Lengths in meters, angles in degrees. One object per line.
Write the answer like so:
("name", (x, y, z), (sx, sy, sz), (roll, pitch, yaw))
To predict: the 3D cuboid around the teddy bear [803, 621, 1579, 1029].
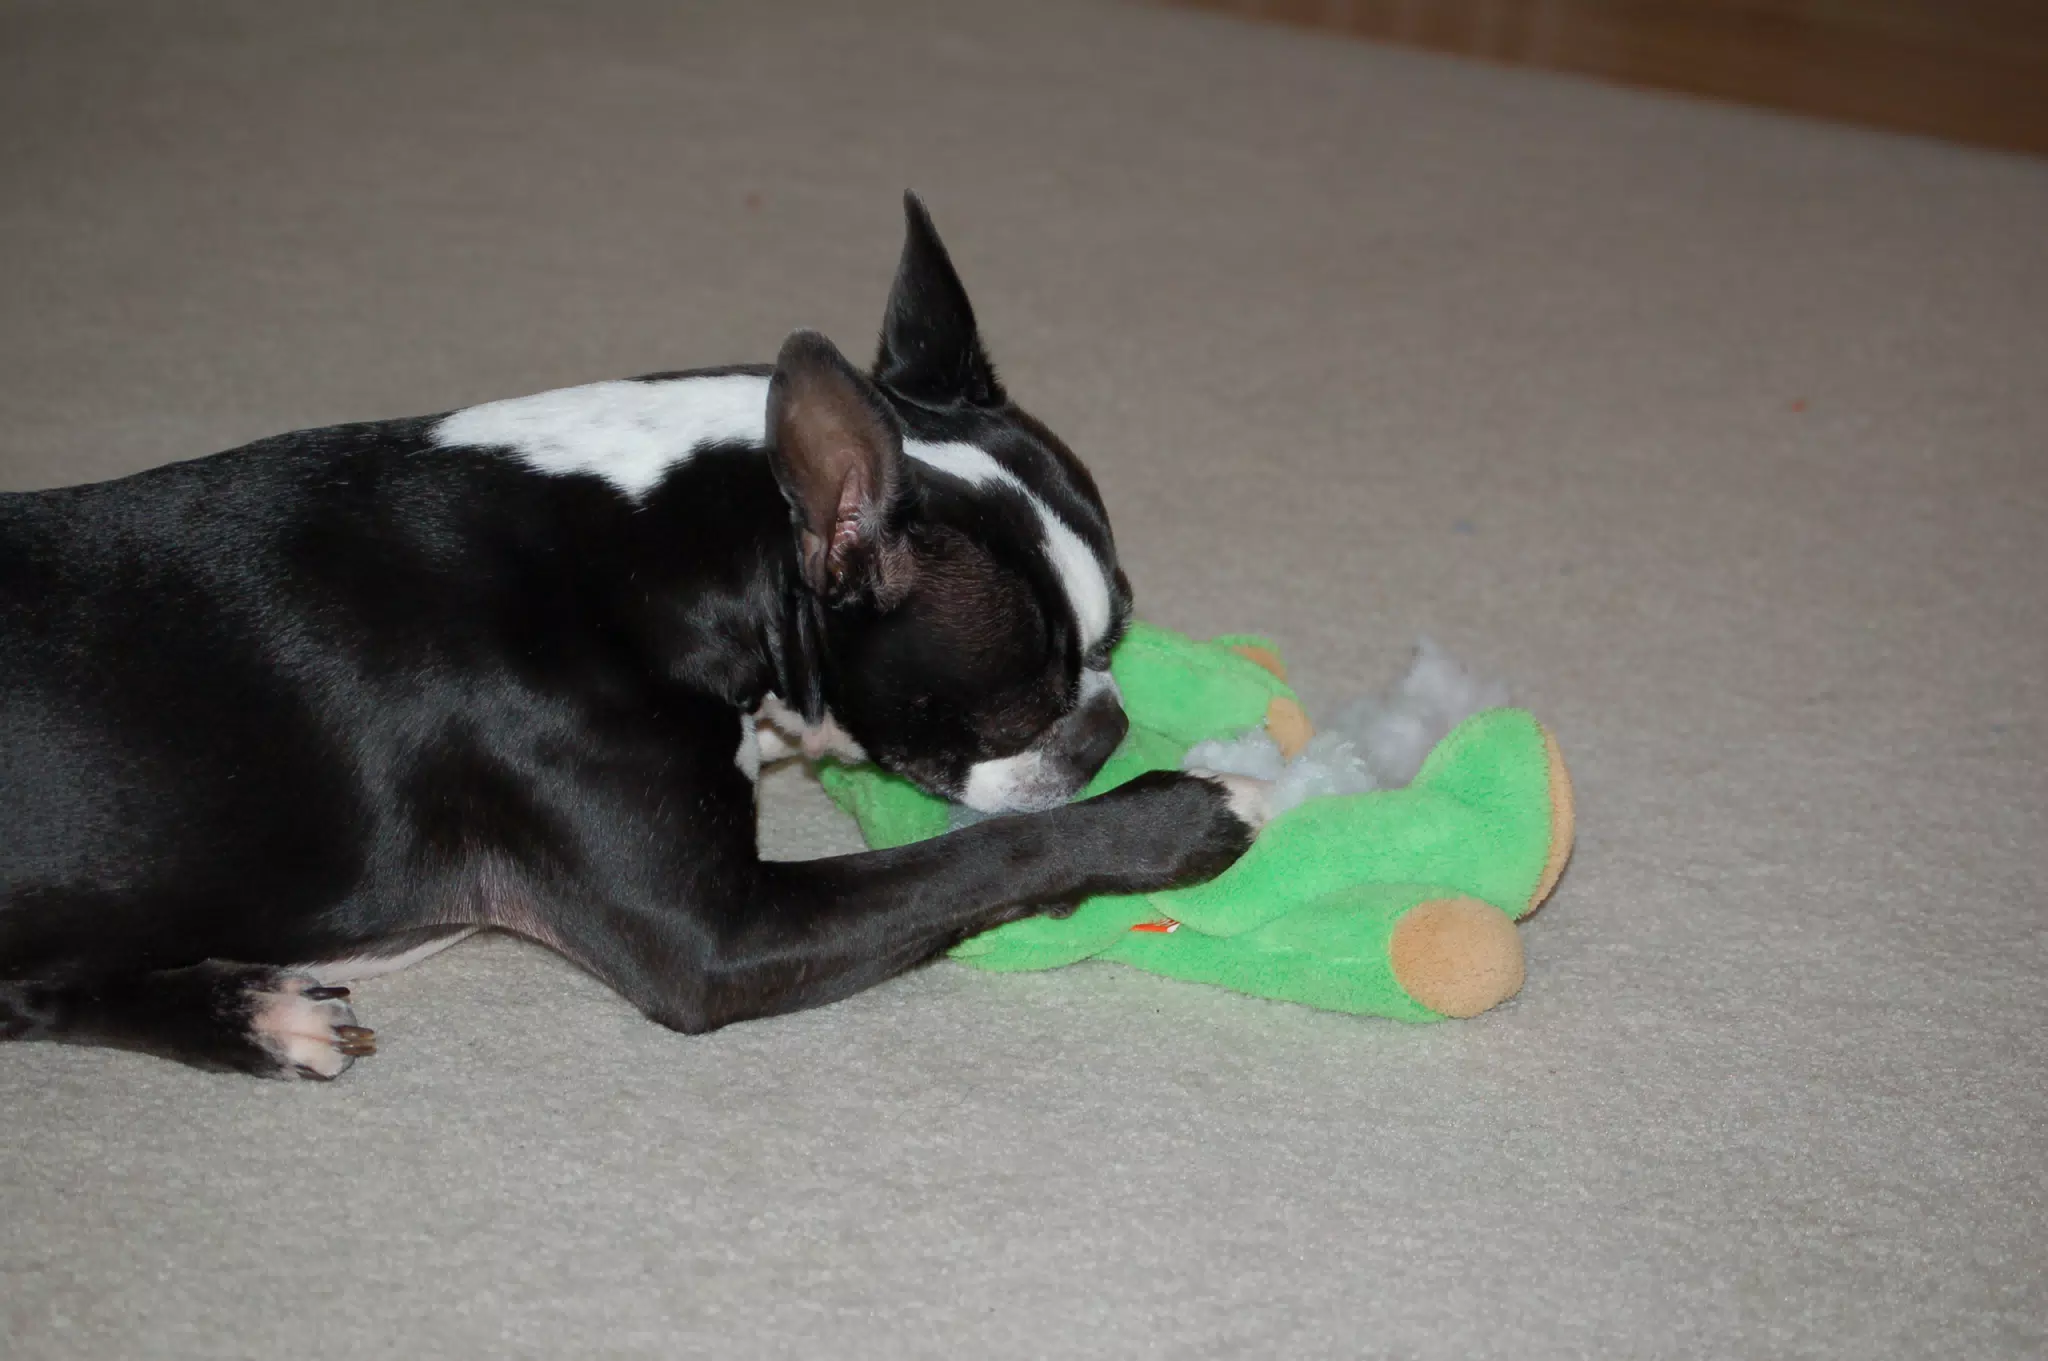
("teddy bear", (0.366, 0.390, 3.822), (1.442, 0.906, 0.337), (-10, -64, 24))
